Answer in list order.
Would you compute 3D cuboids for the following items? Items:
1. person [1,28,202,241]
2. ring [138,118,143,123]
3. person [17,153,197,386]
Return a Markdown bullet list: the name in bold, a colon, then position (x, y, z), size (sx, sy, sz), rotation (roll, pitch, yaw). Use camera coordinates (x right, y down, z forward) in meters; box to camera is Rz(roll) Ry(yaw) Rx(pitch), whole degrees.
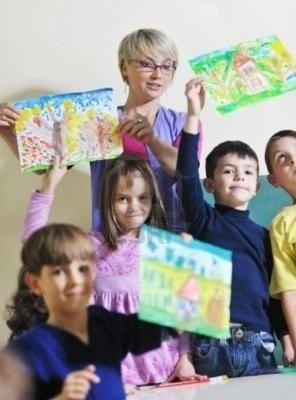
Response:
- **person**: position (-0.192, -0.241, 1.660), size (0.920, 0.937, 0.323), rotation (-3, -16, -18)
- **ring**: position (-0.029, -0.306, 1.670), size (0.017, 0.015, 0.004), rotation (-21, 32, 1)
- **person**: position (-0.111, 0.374, 1.642), size (0.694, 1.117, 0.346), rotation (-2, 7, -6)
